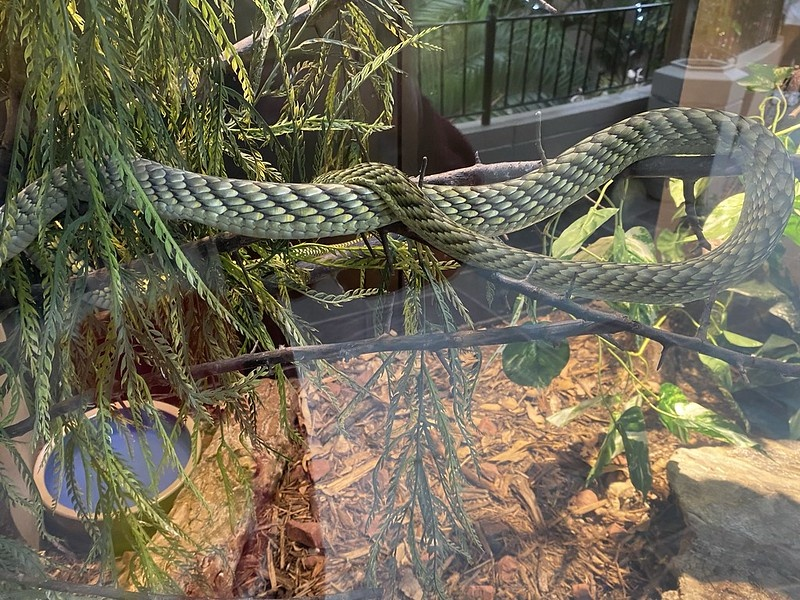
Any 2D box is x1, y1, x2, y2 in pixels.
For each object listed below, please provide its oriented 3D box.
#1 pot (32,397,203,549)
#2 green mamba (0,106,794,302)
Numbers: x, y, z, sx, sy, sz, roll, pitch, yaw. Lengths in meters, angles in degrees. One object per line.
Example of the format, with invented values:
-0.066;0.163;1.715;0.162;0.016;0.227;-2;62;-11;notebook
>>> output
-0.635;0.344;1.527;0.393;0.141;0.396;2;30;-1;pot
0.044;-0.185;1.276;1.310;0.329;0.214;1;30;4;green mamba
